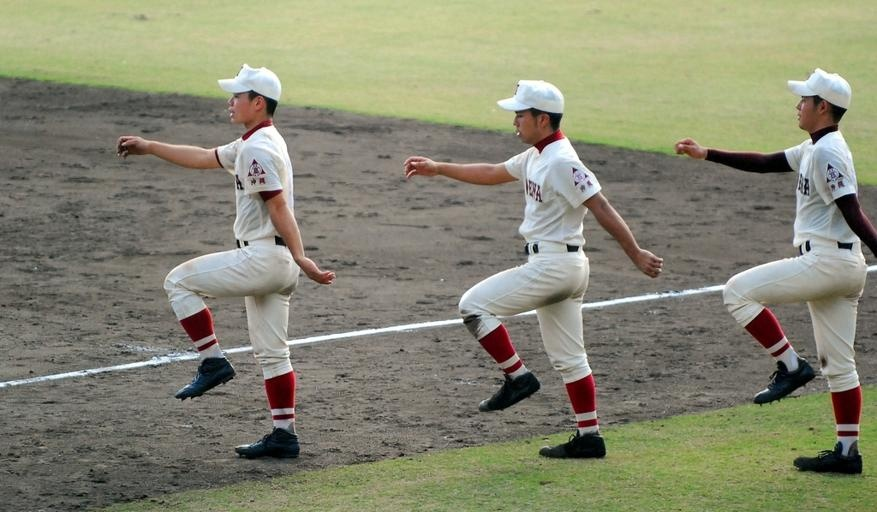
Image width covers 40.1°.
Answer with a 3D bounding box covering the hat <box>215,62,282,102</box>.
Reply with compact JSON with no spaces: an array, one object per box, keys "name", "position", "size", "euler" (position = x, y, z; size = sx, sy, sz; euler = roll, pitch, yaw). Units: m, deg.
[{"name":"hat","position":[-1.935,-1.810,12.550],"size":[0.817,0.248,0.380],"euler":[2,10,-4]}]
